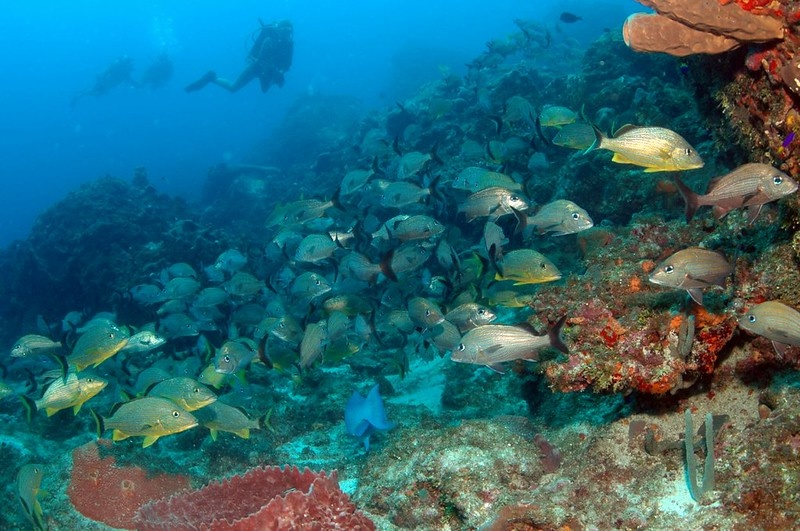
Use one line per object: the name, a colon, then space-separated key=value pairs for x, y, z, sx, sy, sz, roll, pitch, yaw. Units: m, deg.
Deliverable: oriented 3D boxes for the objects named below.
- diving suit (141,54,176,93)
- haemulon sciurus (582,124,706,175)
diving suit: x=-13.864 y=-11.194 z=40.038 sx=1.682 sy=0.668 sz=2.697 roll=11 pitch=57 yaw=-8
haemulon sciurus: x=4.082 y=-1.980 z=11.457 sx=1.752 sy=0.813 sz=0.706 roll=10 pitch=32 yaw=23
